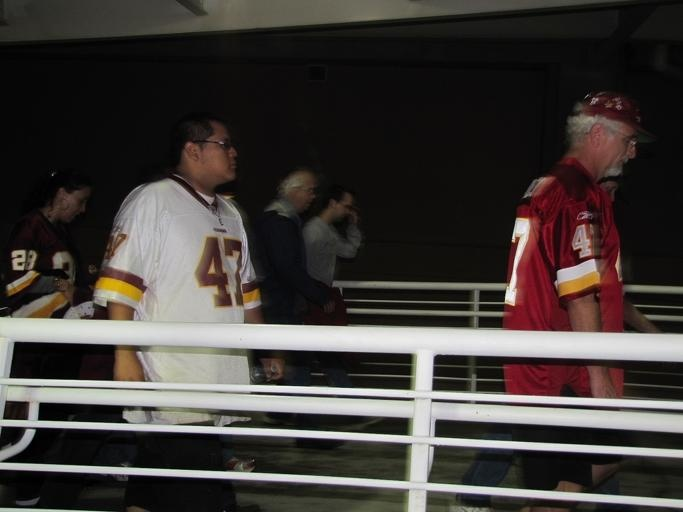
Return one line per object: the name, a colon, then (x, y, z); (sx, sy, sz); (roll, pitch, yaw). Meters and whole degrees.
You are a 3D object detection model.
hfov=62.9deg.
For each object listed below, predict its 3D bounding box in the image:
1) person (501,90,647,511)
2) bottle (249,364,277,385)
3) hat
person: (0.790, 0.150, 1.906); (0.463, 1.483, 0.410); (0, -2, 20)
bottle: (-0.349, 0.500, 2.328); (0.131, 0.071, 0.128); (-2, -10, 0)
hat: (1.006, -0.520, 1.990); (0.254, 0.117, 0.174); (16, 3, -5)
